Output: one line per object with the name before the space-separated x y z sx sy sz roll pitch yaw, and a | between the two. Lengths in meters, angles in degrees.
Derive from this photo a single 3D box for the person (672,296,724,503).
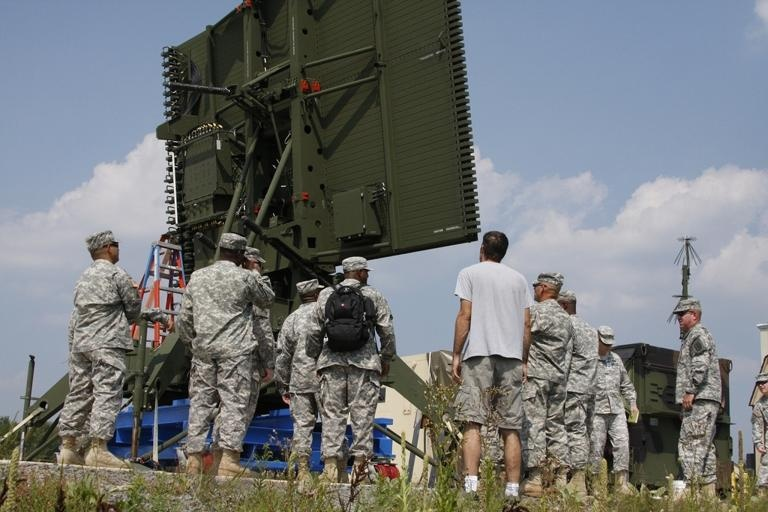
person | 4.319 1.936 17.724 0.597 2.756 0.668 0 -16 14

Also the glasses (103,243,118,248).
glasses | -3.498 -0.139 16.404 0.155 0.047 0.147 -3 -5 -1

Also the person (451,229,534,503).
person | 1.295 1.269 15.669 0.937 3.195 0.474 3 -16 3

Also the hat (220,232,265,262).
hat | -1.837 -0.131 16.369 0.486 0.173 0.397 20 -3 -1

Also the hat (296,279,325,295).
hat | -1.051 0.431 17.512 0.311 0.118 0.202 -4 8 -2

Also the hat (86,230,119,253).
hat | -3.316 -0.144 14.971 0.229 0.135 0.240 -21 8 -30

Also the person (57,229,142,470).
person | -3.535 1.119 15.962 0.829 2.981 0.493 7 -16 -11
